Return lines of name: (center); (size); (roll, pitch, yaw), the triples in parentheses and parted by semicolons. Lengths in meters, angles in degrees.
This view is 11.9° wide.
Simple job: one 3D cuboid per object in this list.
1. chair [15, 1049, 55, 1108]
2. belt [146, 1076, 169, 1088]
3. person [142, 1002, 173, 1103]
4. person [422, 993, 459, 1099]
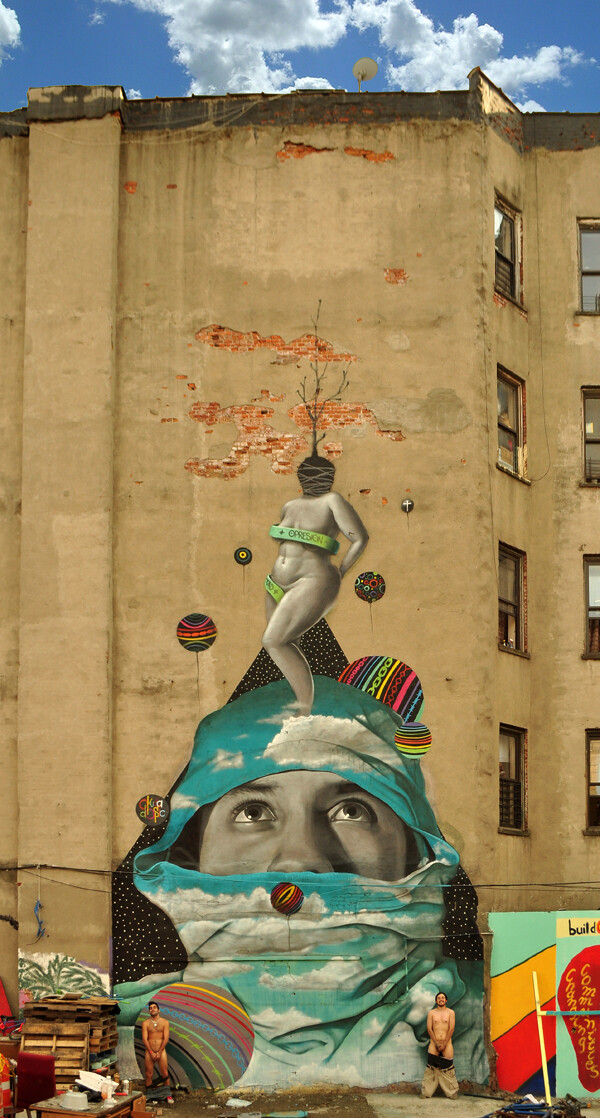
chair: (-3.398, 6.663, 37.080); (0.503, 0.873, 0.629); (1, -30, 2)
belt: (-1.974, 7.246, 39.993); (0.319, 0.130, 0.146); (-20, 2, 19)
person: (-1.999, 6.821, 40.008); (0.401, 1.317, 0.734); (0, -5, -4)
person: (1.872, 6.765, 40.182); (0.464, 1.392, 0.481); (-1, -5, 2)
